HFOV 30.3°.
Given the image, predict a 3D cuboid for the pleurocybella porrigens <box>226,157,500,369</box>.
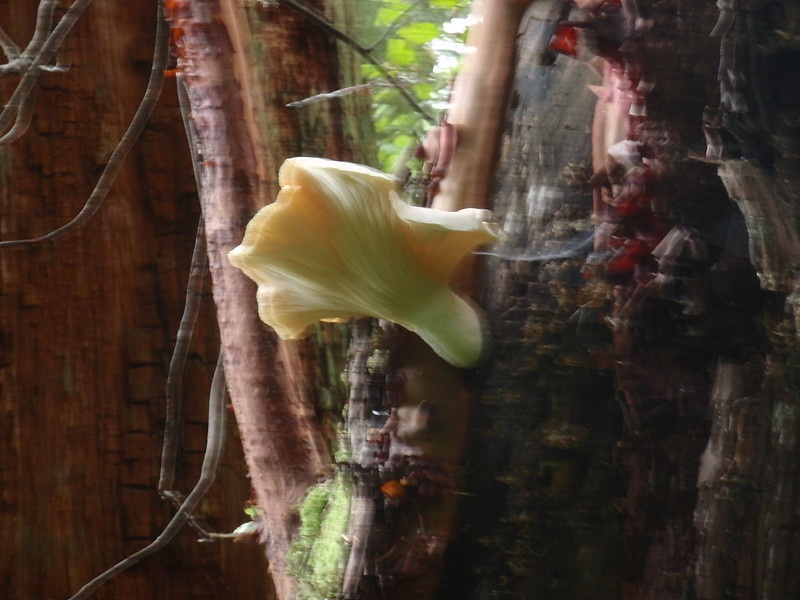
[{"bbox_3d":[-0.122,-0.063,4.349,0.825,0.528,0.214,13,34,9],"label":"pleurocybella porrigens"}]
